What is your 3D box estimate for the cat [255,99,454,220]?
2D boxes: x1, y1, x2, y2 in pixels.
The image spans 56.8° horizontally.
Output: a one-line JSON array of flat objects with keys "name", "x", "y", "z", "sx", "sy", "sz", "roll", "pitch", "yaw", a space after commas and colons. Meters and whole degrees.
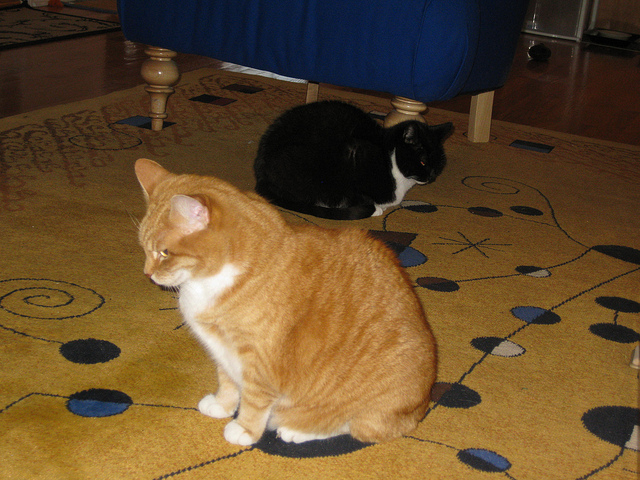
[{"name": "cat", "x": 0.015, "y": -0.281, "z": 2.039, "sx": 0.849, "sy": 0.270, "sz": 0.343, "roll": 3, "pitch": 32, "yaw": -3}]
